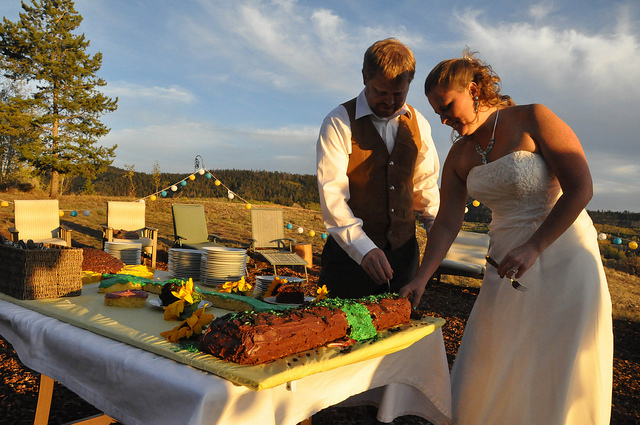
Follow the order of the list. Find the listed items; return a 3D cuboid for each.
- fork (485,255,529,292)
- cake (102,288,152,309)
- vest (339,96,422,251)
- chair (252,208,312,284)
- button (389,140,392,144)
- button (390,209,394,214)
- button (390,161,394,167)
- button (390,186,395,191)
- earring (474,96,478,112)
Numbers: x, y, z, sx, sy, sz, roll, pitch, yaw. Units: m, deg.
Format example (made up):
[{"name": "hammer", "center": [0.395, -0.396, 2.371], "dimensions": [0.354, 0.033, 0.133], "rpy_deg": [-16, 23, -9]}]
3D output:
[{"name": "fork", "center": [1.114, 0.363, 2.268], "dimensions": [0.332, 0.058, 0.045], "rpy_deg": [46, 14, 7]}, {"name": "cake", "center": [-1.160, 0.517, 2.332], "dimensions": [0.176, 0.067, 0.150], "rpy_deg": [0, 3, -31]}, {"name": "vest", "center": [0.449, -0.276, 2.739], "dimensions": [0.608, 1.040, 0.234], "rpy_deg": [4, 0, -26]}, {"name": "chair", "center": [-0.971, 0.605, 8.402], "dimensions": [0.955, 1.366, 2.025], "rpy_deg": [2, 3, -22]}, {"name": "button", "center": [0.493, -0.496, 2.688], "dimensions": [0.021, 0.021, 0.006], "rpy_deg": [-8, 4, -25]}, {"name": "button", "center": [0.498, -0.009, 2.647], "dimensions": [0.023, 0.024, 0.008], "rpy_deg": [-8, 1, -17]}, {"name": "button", "center": [0.500, -0.337, 2.659], "dimensions": [0.029, 0.031, 0.011], "rpy_deg": [4, -8, -13]}, {"name": "button", "center": [0.502, -0.167, 2.657], "dimensions": [0.018, 0.023, 0.031], "rpy_deg": [8, 0, 14]}, {"name": "earring", "center": [0.973, -0.678, 2.390], "dimensions": [0.014, 0.090, 0.035], "rpy_deg": [4, -1, 36]}]
